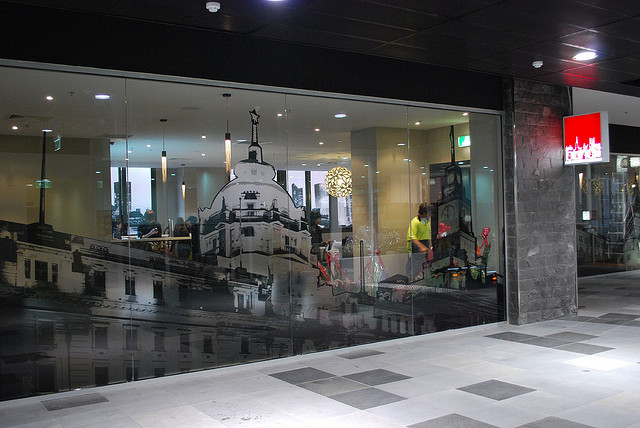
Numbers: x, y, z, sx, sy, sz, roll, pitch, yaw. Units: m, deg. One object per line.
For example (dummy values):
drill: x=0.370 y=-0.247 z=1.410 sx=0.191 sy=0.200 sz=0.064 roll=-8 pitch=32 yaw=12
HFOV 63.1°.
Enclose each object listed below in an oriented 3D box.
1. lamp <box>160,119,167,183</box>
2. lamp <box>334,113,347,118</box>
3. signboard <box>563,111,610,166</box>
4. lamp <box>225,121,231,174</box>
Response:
lamp: x=-1.873 y=-0.764 z=6.267 sx=0.080 sy=0.763 sz=0.097 roll=-2 pitch=5 yaw=-15
lamp: x=0.277 y=-1.358 z=7.154 sx=0.224 sy=0.071 sz=0.044 roll=-6 pitch=8 yaw=-15
signboard: x=4.263 y=-1.203 z=8.373 sx=0.202 sy=0.833 sz=0.771 roll=-4 pitch=6 yaw=-32
lamp: x=-1.160 y=-0.786 z=6.555 sx=0.078 sy=0.506 sz=0.073 roll=-2 pitch=5 yaw=-13
